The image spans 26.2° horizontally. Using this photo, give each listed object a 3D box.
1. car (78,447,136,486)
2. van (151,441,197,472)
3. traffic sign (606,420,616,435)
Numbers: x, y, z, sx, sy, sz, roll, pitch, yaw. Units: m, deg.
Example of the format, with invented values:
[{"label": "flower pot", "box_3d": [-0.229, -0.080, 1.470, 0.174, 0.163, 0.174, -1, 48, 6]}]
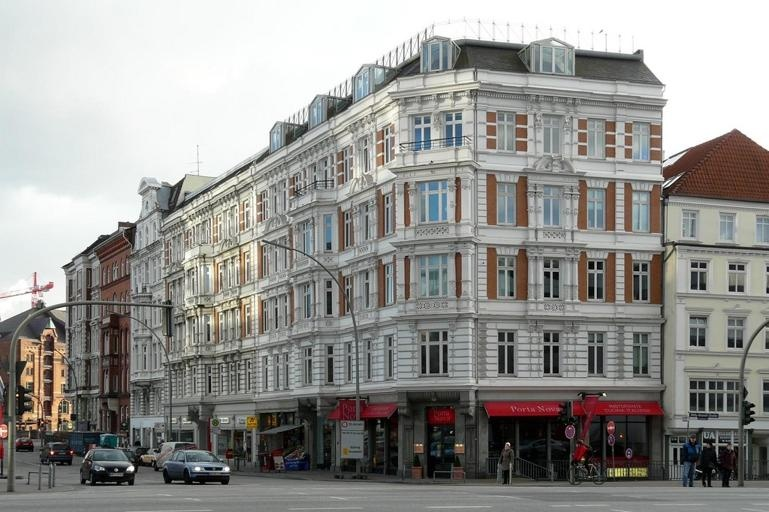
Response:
[{"label": "car", "box_3d": [-17.583, 13.451, 105.957, 4.525, 2.269, 3.427, 2, -9, -12]}, {"label": "van", "box_3d": [-16.434, 15.568, 126.350, 2.953, 2.393, 5.043, 1, -2, -25]}, {"label": "traffic sign", "box_3d": [15.334, 11.605, 111.941, 1.062, 1.214, 0.208, -4, 2, -35]}]
